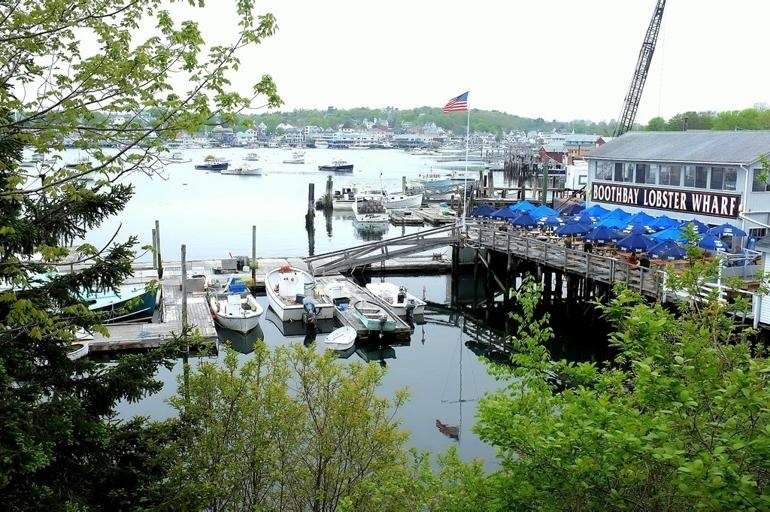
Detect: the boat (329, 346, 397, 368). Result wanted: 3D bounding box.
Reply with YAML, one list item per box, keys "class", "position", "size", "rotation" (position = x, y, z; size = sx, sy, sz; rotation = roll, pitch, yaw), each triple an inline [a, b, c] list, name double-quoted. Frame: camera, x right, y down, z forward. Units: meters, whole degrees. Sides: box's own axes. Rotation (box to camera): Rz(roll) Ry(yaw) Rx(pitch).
- class: "boat"
  position: [-0.614, 3.634, 29.289]
  size: [2.175, 0.562, 2.455]
  rotation: [4, 11, 12]
